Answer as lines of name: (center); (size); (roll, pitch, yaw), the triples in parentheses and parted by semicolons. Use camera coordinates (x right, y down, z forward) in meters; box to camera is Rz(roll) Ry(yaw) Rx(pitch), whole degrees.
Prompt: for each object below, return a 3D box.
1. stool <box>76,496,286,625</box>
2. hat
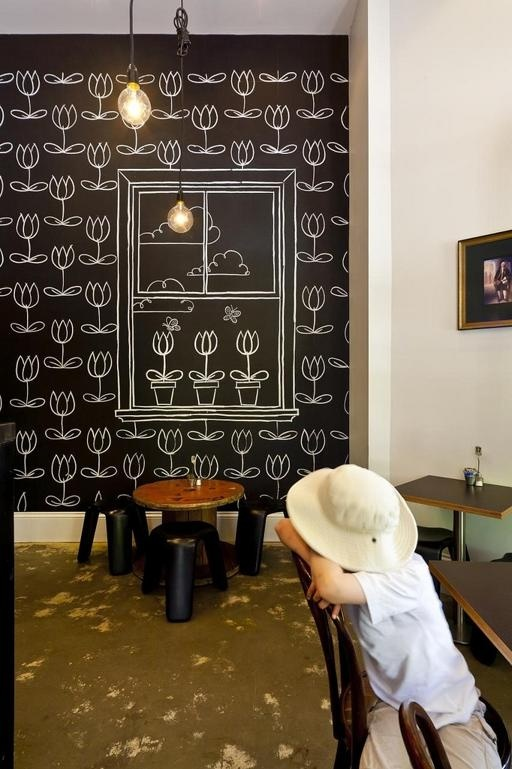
stool: (-0.316, 0.911, 3.035); (0.638, 0.293, 0.670); (3, -1, 37)
hat: (0.209, 0.287, 1.268); (0.292, 0.228, 0.208); (1, 4, 16)
